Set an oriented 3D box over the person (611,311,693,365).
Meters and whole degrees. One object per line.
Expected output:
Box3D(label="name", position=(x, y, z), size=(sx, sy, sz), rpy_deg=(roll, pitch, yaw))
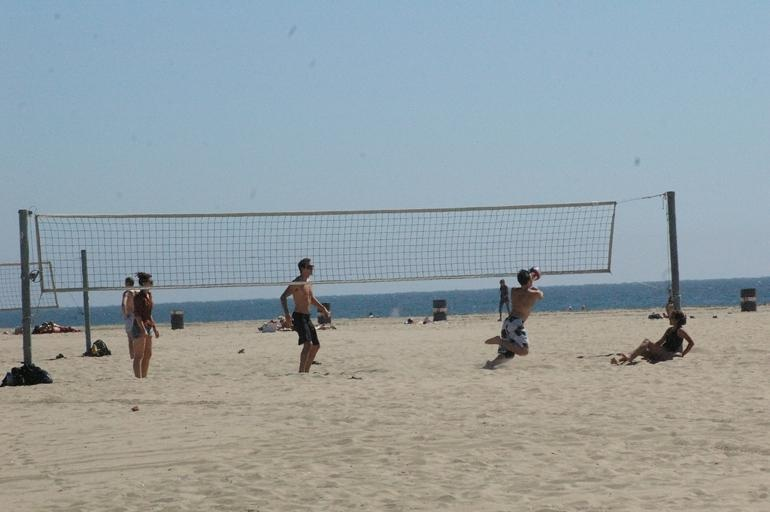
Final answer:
Box3D(label="person", position=(3.740, 1.128, 14.349), size=(1.182, 0.743, 0.659), rpy_deg=(-2, -2, -7))
